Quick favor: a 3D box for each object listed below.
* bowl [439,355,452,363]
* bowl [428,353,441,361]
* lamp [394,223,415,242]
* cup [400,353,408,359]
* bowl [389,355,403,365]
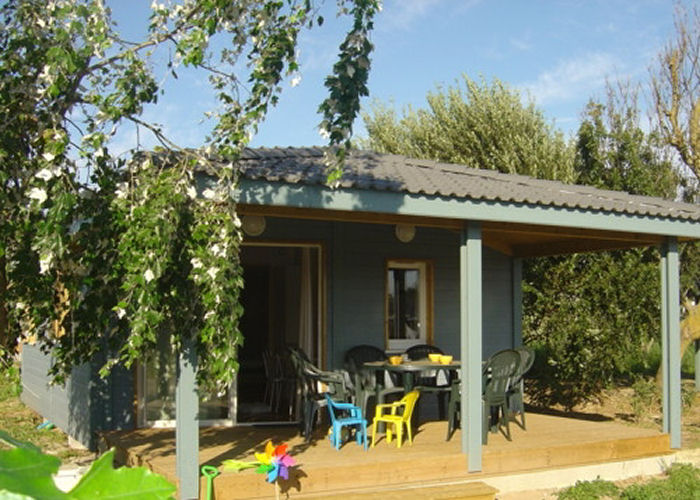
[{"bbox_3d":[1.345,1.539,9.520,0.114,0.071,0.119,-1,-13,0],"label":"bowl"},{"bbox_3d":[1.194,1.525,9.580,0.110,0.072,0.114,0,-12,0],"label":"bowl"},{"bbox_3d":[0.873,-0.285,10.666,0.333,0.260,0.441,-10,-10,26],"label":"lamp"},{"bbox_3d":[0.840,1.630,10.373,0.084,0.066,0.088,1,-4,0],"label":"cup"},{"bbox_3d":[0.630,1.525,9.355,0.118,0.081,0.117,-1,-13,0],"label":"bowl"}]
